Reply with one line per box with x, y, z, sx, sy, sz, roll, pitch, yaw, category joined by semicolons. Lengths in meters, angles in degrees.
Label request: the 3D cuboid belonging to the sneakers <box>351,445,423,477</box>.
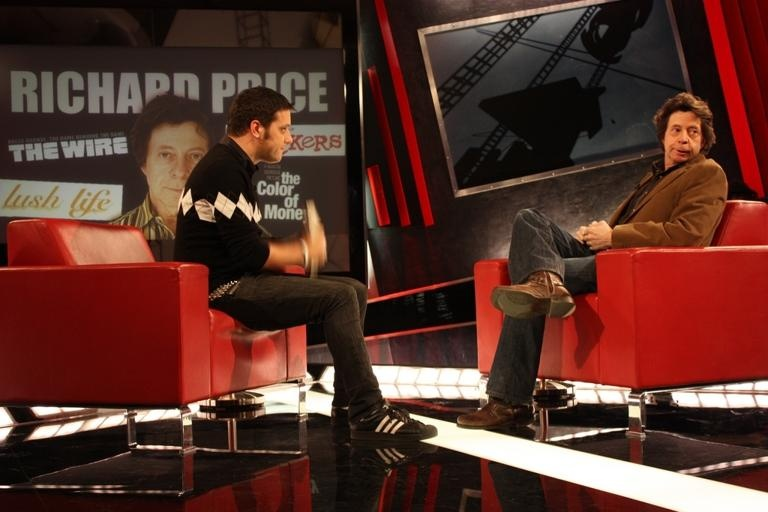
0.011;0.880;2.738;0.297;0.111;0.095;-2;-1;9;sneakers

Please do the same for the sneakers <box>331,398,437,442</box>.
-0.005;0.762;3.007;0.509;0.190;0.176;0;-3;-5;sneakers

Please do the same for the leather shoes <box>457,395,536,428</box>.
0.551;0.766;3.140;0.365;0.153;0.143;1;-6;-1;leather shoes

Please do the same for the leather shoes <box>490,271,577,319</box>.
0.672;0.193;2.995;0.439;0.165;0.285;3;34;5;leather shoes
